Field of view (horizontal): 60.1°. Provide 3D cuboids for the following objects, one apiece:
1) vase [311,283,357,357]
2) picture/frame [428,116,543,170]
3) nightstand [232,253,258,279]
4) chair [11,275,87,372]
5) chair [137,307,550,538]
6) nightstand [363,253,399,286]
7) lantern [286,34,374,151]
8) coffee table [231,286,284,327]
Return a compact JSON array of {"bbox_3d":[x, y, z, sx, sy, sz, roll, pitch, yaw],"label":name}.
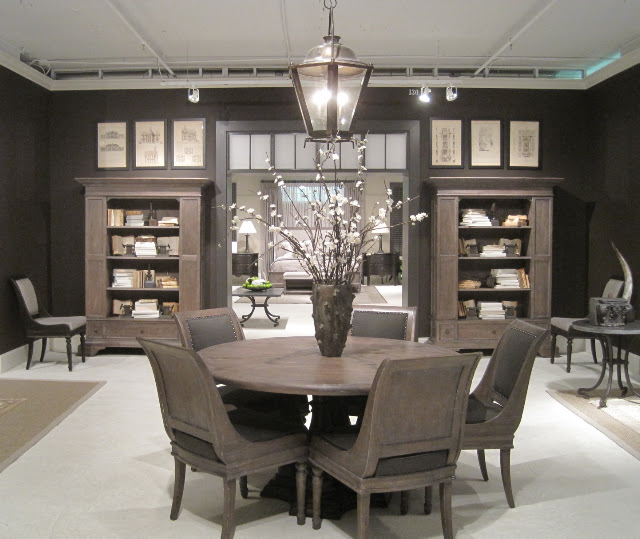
[{"bbox_3d":[0.082,0.279,3.485,0.263,0.399,0.261,2,8,34],"label":"vase"},{"bbox_3d":[2.011,-1.521,6.719,1.323,0.549,0.075,0,7,-2],"label":"picture/frame"},{"bbox_3d":[-1.684,-0.110,12.434,0.518,0.541,0.432,-1,-3,2],"label":"nightstand"},{"bbox_3d":[-2.991,0.566,6.095,0.720,0.970,0.681,0,7,-2],"label":"chair"},{"bbox_3d":[0.089,0.864,3.373,2.340,1.080,1.500,3,8,24],"label":"chair"},{"bbox_3d":[1.422,-0.100,13.370,0.927,0.956,0.761,0,0,-2],"label":"nightstand"},{"bbox_3d":[0.053,-0.963,3.167,0.507,0.753,0.505,0,2,3],"label":"lantern"},{"bbox_3d":[-0.902,0.468,8.514,0.659,0.445,0.687,0,1,-2],"label":"coffee table"}]
